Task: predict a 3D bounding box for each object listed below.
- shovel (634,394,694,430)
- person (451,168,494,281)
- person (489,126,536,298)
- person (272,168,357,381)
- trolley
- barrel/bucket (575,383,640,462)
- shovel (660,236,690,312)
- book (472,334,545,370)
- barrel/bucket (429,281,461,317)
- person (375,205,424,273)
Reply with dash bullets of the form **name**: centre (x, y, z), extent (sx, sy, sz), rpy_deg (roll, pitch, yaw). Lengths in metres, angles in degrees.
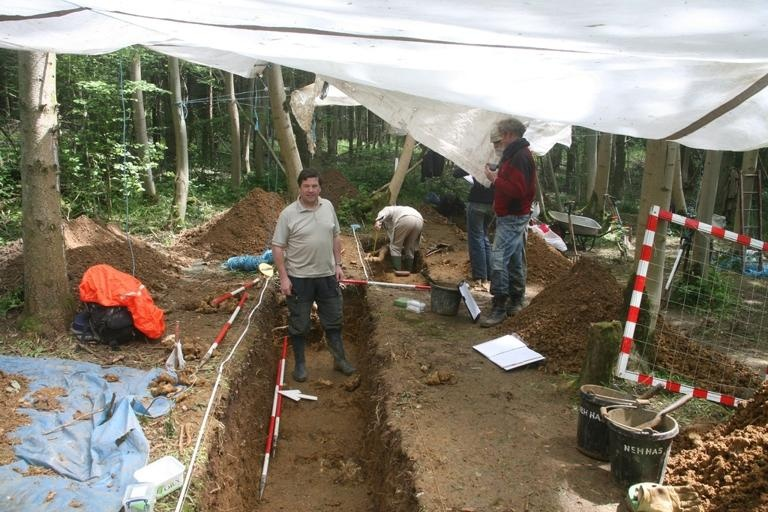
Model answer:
- **shovel**: centre (2.810, 1.571, 6.063), extent (0.712, 0.094, 0.165), rpy_deg (-28, 1, 10)
- **person**: centre (1.432, -0.646, 9.405), extent (0.655, 2.146, 0.812), rpy_deg (-2, -1, 28)
- **person**: centre (1.741, -0.568, 8.215), extent (0.559, 2.529, 0.606), rpy_deg (4, 16, 10)
- **person**: centre (-0.956, 0.332, 7.917), extent (0.970, 2.958, 0.476), rpy_deg (-3, 16, -14)
- **trolley**: centre (5.150, -0.806, 14.989), extent (2.132, 1.225, 0.959), rpy_deg (9, 15, 17)
- **barrel/bucket**: centre (2.135, 1.663, 6.163), extent (0.662, 0.646, 0.711), rpy_deg (1, 1, 0)
- **shovel**: centre (4.864, 0.348, 10.066), extent (0.222, 1.465, 0.217), rpy_deg (15, 6, -36)
- **book**: centre (1.561, 1.188, 7.555), extent (0.627, 0.241, 0.623), rpy_deg (-5, 15, -24)
- **barrel/bucket**: centre (0.891, 0.626, 8.849), extent (0.473, 0.345, 0.485), rpy_deg (3, 3, 0)
- **person**: centre (0.284, -0.417, 11.489), extent (0.974, 1.541, 1.067), rpy_deg (-2, -12, 14)
